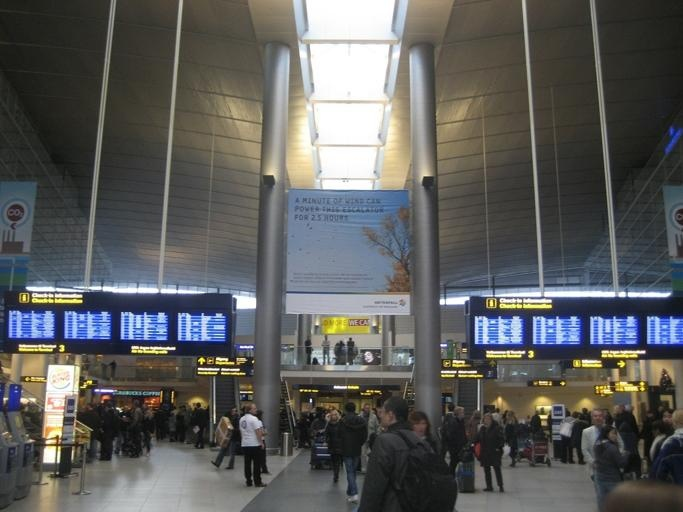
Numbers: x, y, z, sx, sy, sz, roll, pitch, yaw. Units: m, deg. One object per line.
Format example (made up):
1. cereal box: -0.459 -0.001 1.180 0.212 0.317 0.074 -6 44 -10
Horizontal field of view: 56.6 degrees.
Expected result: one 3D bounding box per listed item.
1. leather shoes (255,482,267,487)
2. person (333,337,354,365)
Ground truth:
1. leather shoes: -1.622 4.662 12.904 0.196 0.097 0.077 0 -9 3
2. person: 0.268 4.367 29.074 0.702 1.316 1.344 -2 -8 15
